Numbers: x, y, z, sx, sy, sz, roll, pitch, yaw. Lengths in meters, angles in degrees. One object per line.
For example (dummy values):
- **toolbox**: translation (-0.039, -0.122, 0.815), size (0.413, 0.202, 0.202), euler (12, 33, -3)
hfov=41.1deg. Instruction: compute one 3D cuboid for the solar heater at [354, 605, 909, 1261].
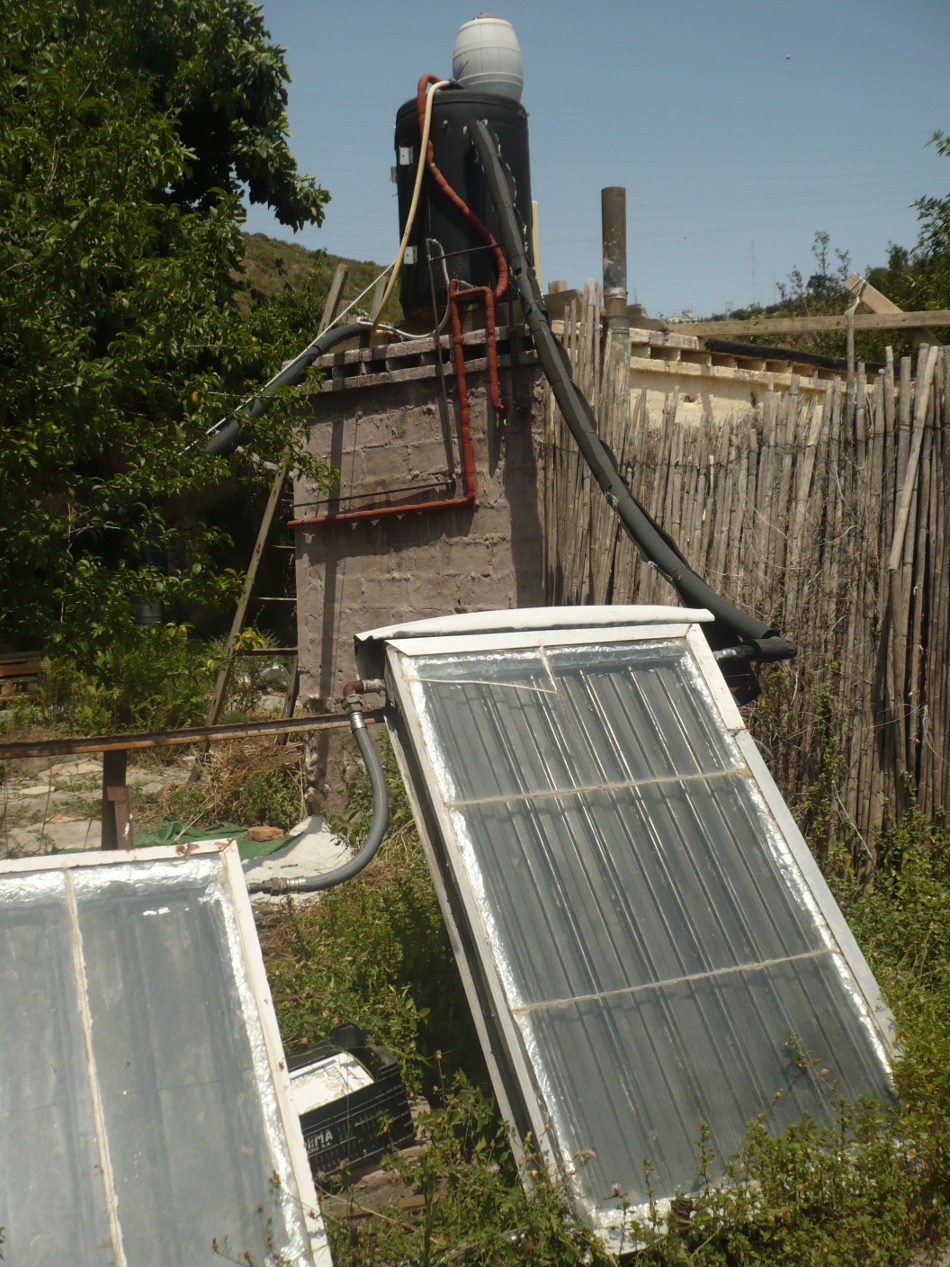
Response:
- **solar heater**: translation (0.302, 0.920, 4.201), size (1.249, 1.904, 0.530), euler (-7, -25, -29)
